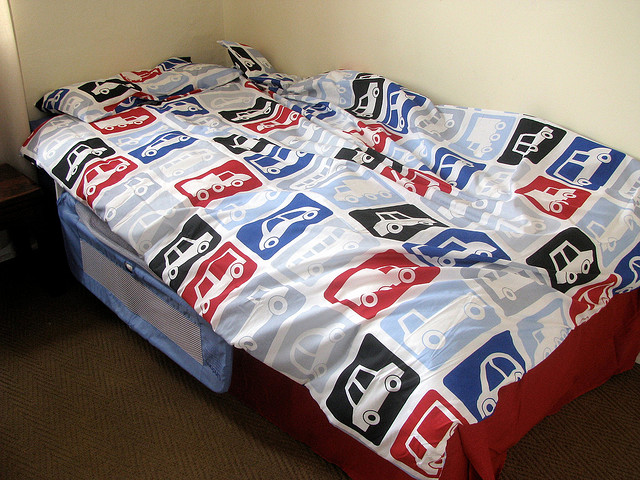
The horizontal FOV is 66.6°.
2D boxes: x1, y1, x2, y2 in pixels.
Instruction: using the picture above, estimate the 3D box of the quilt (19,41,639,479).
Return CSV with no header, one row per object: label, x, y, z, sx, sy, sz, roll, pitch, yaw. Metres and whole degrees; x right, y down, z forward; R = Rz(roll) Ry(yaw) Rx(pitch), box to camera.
quilt,0.173,-0.121,2.114,1.850,0.691,1.592,32,40,32
